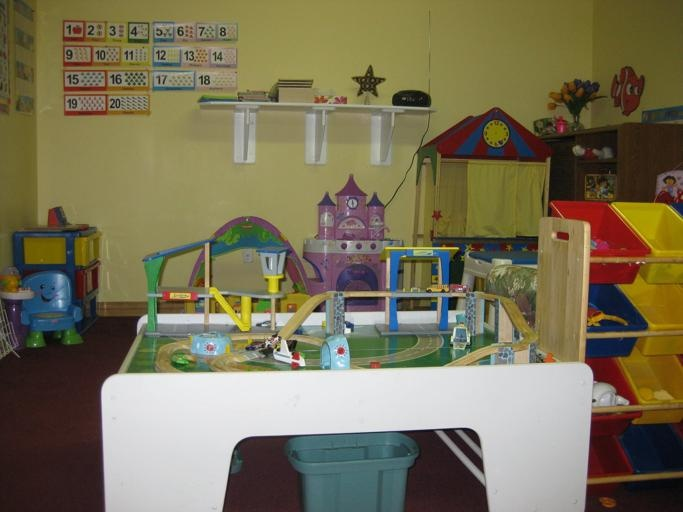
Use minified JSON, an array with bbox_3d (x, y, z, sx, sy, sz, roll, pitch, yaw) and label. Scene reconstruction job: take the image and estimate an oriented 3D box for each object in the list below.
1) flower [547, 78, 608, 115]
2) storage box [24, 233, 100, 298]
[{"bbox_3d":[1.991,-1.325,5.245,0.358,0.263,0.345,14,7,-17],"label":"flower"},{"bbox_3d":[-2.113,0.022,4.831,0.540,0.570,0.440,0,8,1],"label":"storage box"}]
